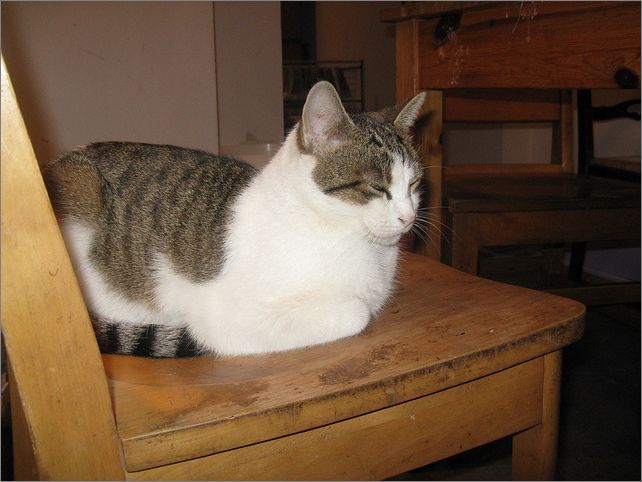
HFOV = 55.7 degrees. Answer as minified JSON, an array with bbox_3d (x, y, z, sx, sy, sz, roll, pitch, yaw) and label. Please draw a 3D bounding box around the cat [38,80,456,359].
[{"bbox_3d":[-0.150,-0.075,1.296,0.779,0.402,0.483,3,12,5],"label":"cat"}]
